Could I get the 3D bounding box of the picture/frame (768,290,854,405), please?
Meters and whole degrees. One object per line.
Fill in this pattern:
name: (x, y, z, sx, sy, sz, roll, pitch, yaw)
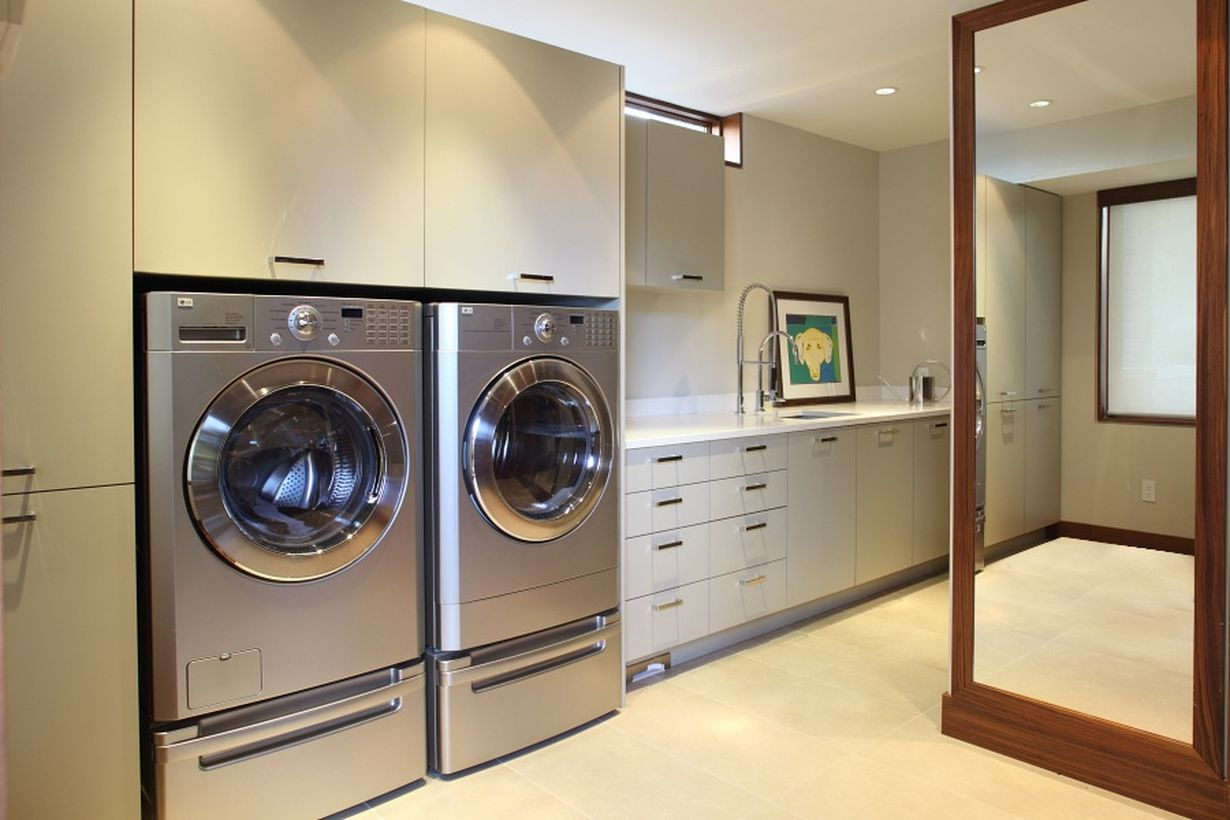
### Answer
picture/frame: (1.315, -0.407, 5.491, 0.830, 0.744, 0.048, -3, 0, -40)
